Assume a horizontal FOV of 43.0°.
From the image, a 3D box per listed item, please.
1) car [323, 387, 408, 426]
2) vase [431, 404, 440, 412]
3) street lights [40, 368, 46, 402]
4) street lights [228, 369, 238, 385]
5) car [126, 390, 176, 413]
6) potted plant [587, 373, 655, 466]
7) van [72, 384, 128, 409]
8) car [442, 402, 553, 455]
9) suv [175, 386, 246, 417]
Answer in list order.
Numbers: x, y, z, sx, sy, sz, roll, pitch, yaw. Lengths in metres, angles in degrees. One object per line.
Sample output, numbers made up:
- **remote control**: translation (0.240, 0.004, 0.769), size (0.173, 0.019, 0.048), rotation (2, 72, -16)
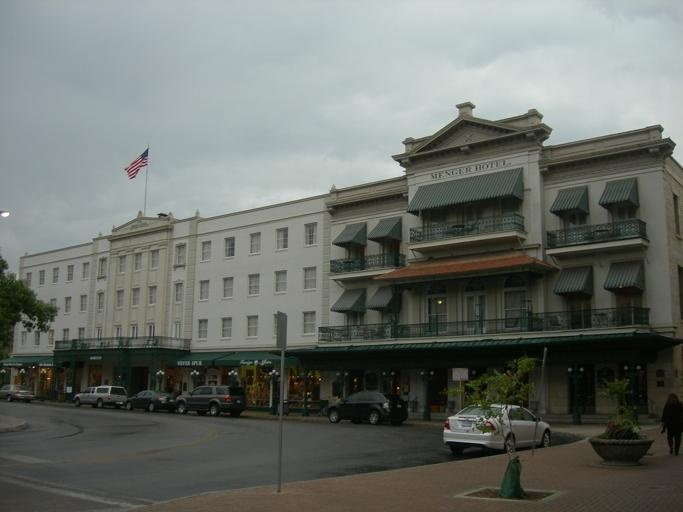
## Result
- **car**: translation (1.520, 7.613, 44.030), size (3.269, 1.240, 1.834), rotation (-5, -14, 39)
- **vase**: translation (5.396, 8.726, 49.960), size (0.416, 0.387, 0.223), rotation (-5, -13, 23)
- **street lights**: translation (-25.372, 10.609, 73.491), size (0.537, 2.274, 0.988), rotation (9, -15, -26)
- **street lights**: translation (-7.418, 8.271, 59.263), size (0.758, 0.893, 1.627), rotation (3, -14, -7)
- **car**: translation (-11.956, 9.067, 54.226), size (3.300, 1.030, 1.422), rotation (-4, -12, 40)
- **potted plant**: translation (9.149, 5.270, 28.406), size (1.935, 2.618, 1.914), rotation (-2, -4, -19)
- **van**: translation (-16.108, 9.447, 58.461), size (4.607, 1.526, 1.546), rotation (-11, -19, 42)
- **car**: translation (5.765, 6.220, 31.797), size (4.402, 1.251, 1.935), rotation (5, -8, -43)
- **suv**: translation (-7.712, 8.499, 51.076), size (4.407, 1.709, 1.438), rotation (-10, -18, 38)
